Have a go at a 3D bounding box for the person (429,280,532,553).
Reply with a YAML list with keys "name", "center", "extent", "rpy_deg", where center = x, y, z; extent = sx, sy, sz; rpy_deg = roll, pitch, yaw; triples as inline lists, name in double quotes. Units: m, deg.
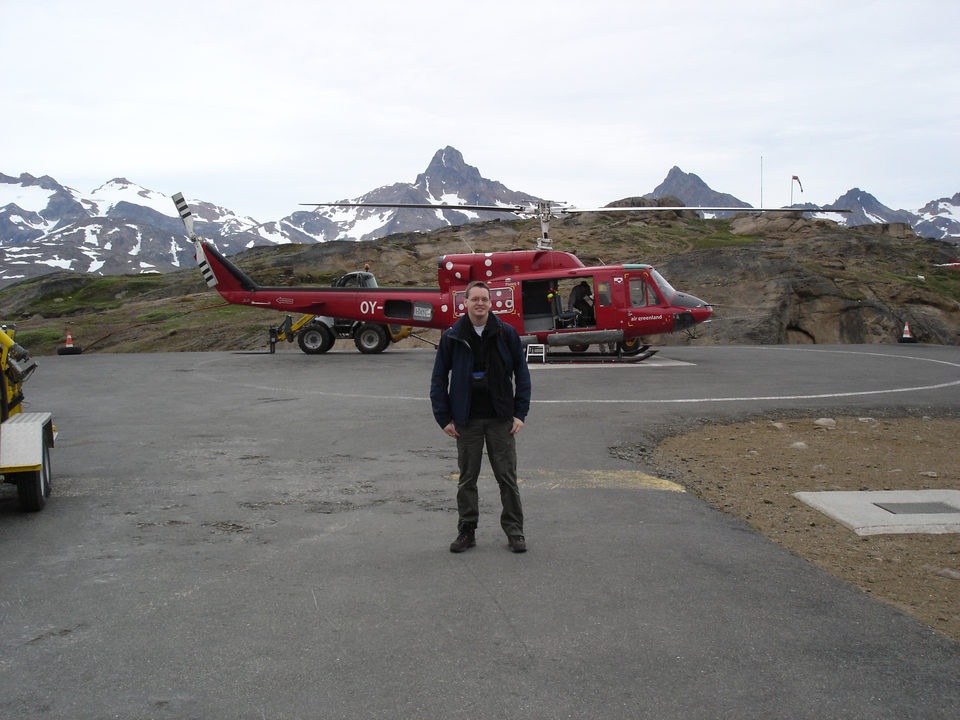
- name: "person"
  center: [0.030, 0.520, 6.664]
  extent: [0.919, 2.485, 0.722]
  rpy_deg: [-4, 8, -7]
